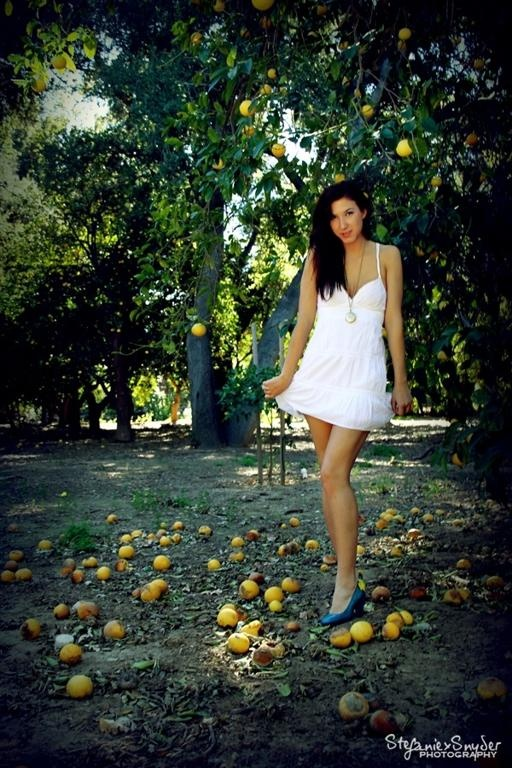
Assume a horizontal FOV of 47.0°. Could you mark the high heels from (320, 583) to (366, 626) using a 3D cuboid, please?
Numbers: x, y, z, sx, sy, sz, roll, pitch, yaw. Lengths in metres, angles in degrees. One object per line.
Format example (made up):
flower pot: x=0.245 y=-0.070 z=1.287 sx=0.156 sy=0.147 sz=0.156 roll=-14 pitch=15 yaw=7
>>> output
high heels: x=0.350 y=0.909 z=2.383 sx=0.173 sy=0.140 sz=0.095 roll=-5 pitch=1 yaw=2
